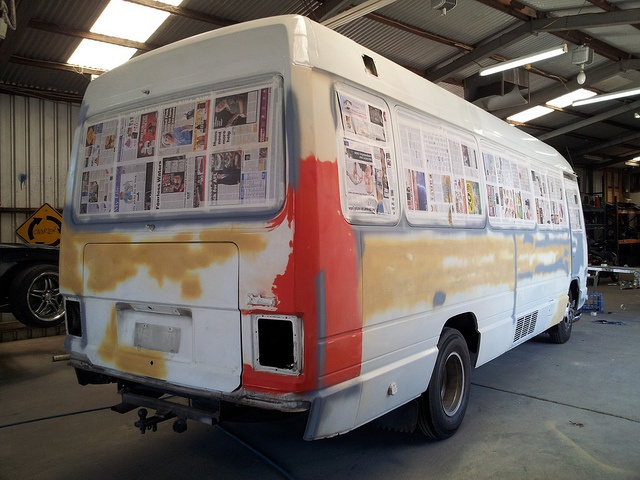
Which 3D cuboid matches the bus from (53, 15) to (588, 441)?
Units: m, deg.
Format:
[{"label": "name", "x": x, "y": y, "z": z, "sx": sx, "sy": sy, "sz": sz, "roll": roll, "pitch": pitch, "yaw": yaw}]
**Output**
[{"label": "bus", "x": 1.433, "y": 0.107, "z": 6.619, "sx": 3.622, "sy": 3.684, "sz": 8.167, "roll": -2, "pitch": -1, "yaw": 43}]
